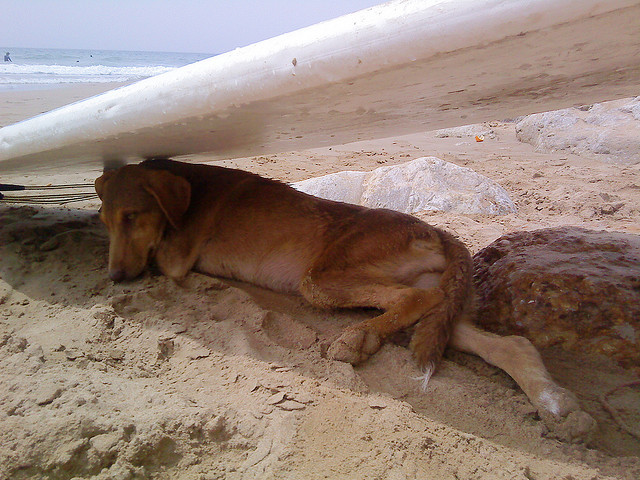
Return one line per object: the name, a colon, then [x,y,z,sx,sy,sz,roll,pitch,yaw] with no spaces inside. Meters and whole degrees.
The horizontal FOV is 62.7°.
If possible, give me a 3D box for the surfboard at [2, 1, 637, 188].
surfboard: [-0.483,-1.115,4.330,5.511,1.227,1.864,1,28,21]
